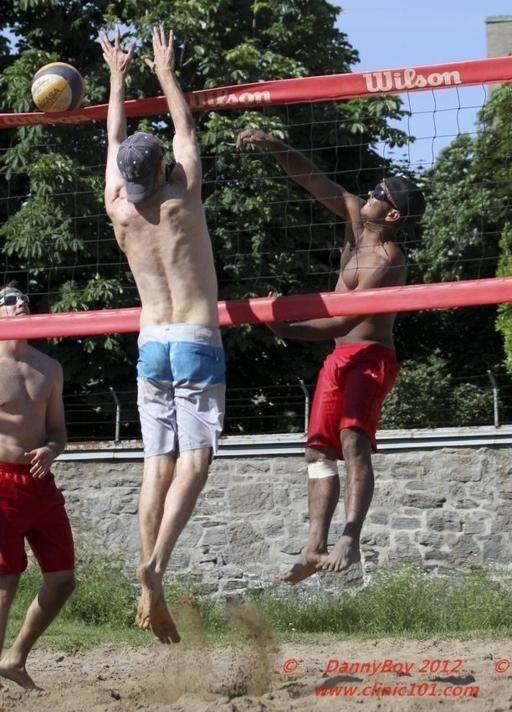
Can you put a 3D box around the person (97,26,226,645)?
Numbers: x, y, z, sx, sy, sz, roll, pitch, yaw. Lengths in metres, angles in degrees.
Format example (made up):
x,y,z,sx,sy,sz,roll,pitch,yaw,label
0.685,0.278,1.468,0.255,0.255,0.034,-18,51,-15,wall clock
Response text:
x,y,z,sx,sy,sz,roll,pitch,yaw,label
-0.379,-0.185,4.146,0.494,2.890,0.483,-1,-9,-17,person

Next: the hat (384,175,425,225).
x,y,z,sx,sy,sz,roll,pitch,yaw,label
0.796,-0.815,4.903,0.284,0.257,0.209,17,18,19,hat

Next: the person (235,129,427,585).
x,y,z,sx,sy,sz,roll,pitch,yaw,label
0.463,-0.040,4.797,0.890,2.379,0.578,-5,-8,9,person

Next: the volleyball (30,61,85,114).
x,y,z,sx,sy,sz,roll,pitch,yaw,label
-1.070,-1.463,5.067,0.261,0.282,0.220,-3,-8,-2,volleyball
